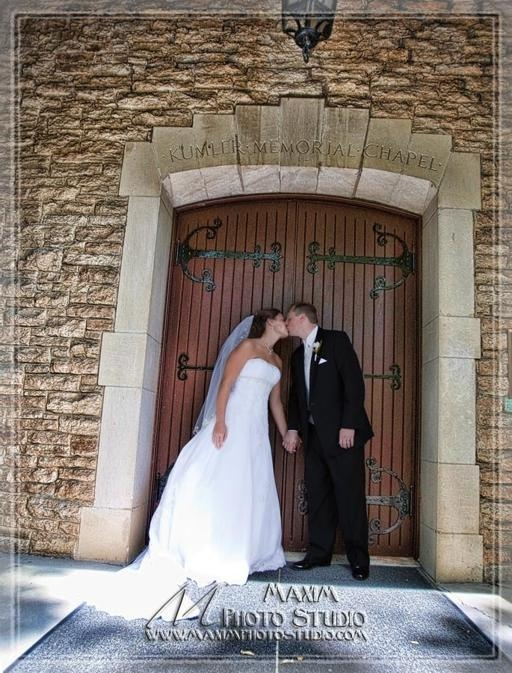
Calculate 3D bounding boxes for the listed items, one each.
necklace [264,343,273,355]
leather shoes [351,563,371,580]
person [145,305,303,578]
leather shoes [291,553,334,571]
[{"bbox_3d":[0.085,0.078,3.494,0.015,0.060,0.043,-15,-5,36],"label":"necklace"},{"bbox_3d":[0.589,1.337,3.119,0.093,0.069,0.136,2,1,10],"label":"leather shoes"},{"bbox_3d":[-0.173,0.586,3.158,0.854,1.555,0.642,2,0,-22],"label":"person"},{"bbox_3d":[0.334,1.342,3.302,0.242,0.106,0.085,8,-14,-15],"label":"leather shoes"}]
